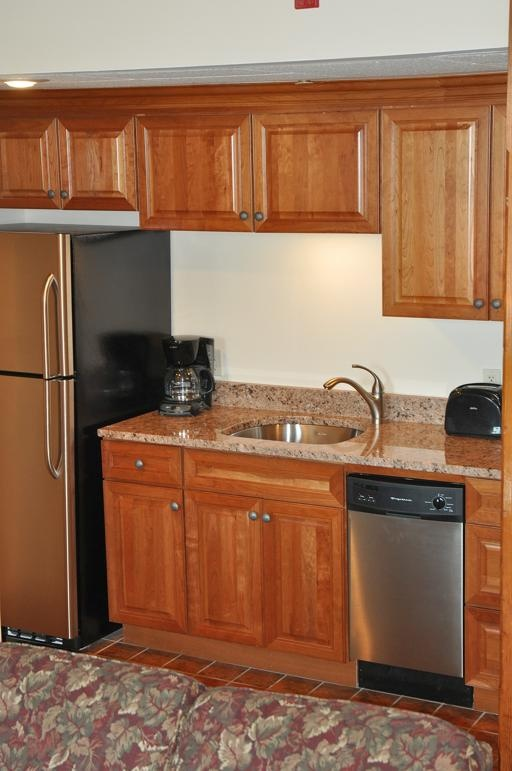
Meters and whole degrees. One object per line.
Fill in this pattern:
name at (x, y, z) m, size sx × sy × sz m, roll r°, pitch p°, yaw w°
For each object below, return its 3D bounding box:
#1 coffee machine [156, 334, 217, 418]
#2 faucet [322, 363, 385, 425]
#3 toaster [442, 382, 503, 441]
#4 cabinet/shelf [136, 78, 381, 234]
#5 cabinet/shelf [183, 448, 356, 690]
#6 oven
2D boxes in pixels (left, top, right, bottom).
coffee machine at (-0.335, -0.055, 3.350) m, size 0.273 × 0.378 × 0.280 m, roll 1°, pitch 7°, yaw 8°
faucet at (0.452, 0.045, 3.006) m, size 0.225 × 0.279 × 0.385 m, roll -5°, pitch 9°, yaw 14°
toaster at (0.904, 0.105, 2.772) m, size 0.224 × 0.198 × 0.127 m, roll 5°, pitch 15°, yaw 30°
cabinet/shelf at (0.007, -0.950, 2.880) m, size 1.010 × 0.514 × 0.360 m, roll 3°, pitch 35°, yaw 11°
cabinet/shelf at (-0.055, 0.791, 2.976) m, size 0.763 × 0.837 × 0.582 m, roll 8°, pitch -31°, yaw -11°
oven at (0.640, 0.773, 2.766) m, size 0.486 × 0.847 × 0.453 m, roll 1°, pitch 6°, yaw 29°
